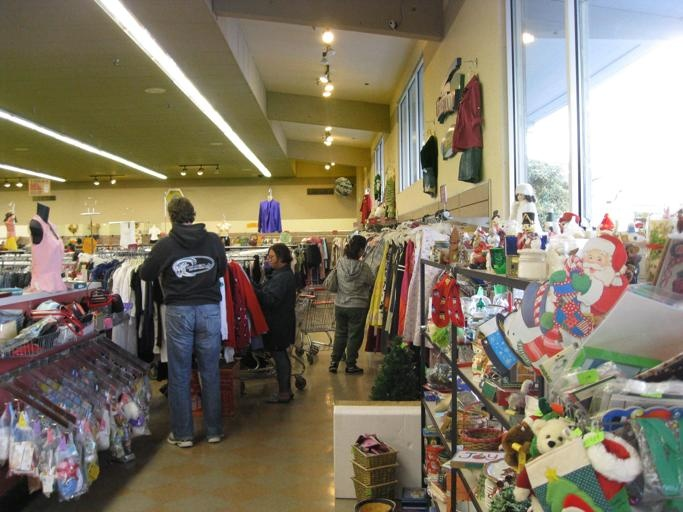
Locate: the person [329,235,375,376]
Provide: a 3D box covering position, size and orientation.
[{"bbox_3d":[0.102,0.634,6.440,0.631,1.774,0.314,1,3,27],"label":"person"}]

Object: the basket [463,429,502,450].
[{"bbox_3d":[0.747,0.978,2.710,0.154,0.070,0.169,1,3,0],"label":"basket"}]

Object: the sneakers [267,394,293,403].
[{"bbox_3d":[-0.663,1.539,5.405,0.260,0.117,0.101,2,-1,4],"label":"sneakers"}]

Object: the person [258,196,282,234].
[{"bbox_3d":[-2.020,-1.085,14.043,0.586,0.911,0.452,0,3,0],"label":"person"}]

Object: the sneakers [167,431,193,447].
[{"bbox_3d":[-1.406,1.587,4.391,0.093,0.119,0.234,1,9,-40],"label":"sneakers"}]

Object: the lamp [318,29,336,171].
[{"bbox_3d":[-0.292,-2.970,9.705,0.427,2.882,0.450,2,-3,-18],"label":"lamp"}]

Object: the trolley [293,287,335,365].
[{"bbox_3d":[-0.401,1.003,7.572,0.508,0.986,1.029,1,-4,-6],"label":"trolley"}]

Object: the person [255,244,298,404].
[{"bbox_3d":[-0.705,0.720,5.436,0.435,1.695,0.388,-1,3,-14],"label":"person"}]

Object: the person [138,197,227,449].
[{"bbox_3d":[-1.336,0.683,4.379,0.670,1.906,0.266,-1,3,-18],"label":"person"}]

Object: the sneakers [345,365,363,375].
[{"bbox_3d":[0.165,1.472,6.558,0.096,0.112,0.246,0,-1,45],"label":"sneakers"}]
